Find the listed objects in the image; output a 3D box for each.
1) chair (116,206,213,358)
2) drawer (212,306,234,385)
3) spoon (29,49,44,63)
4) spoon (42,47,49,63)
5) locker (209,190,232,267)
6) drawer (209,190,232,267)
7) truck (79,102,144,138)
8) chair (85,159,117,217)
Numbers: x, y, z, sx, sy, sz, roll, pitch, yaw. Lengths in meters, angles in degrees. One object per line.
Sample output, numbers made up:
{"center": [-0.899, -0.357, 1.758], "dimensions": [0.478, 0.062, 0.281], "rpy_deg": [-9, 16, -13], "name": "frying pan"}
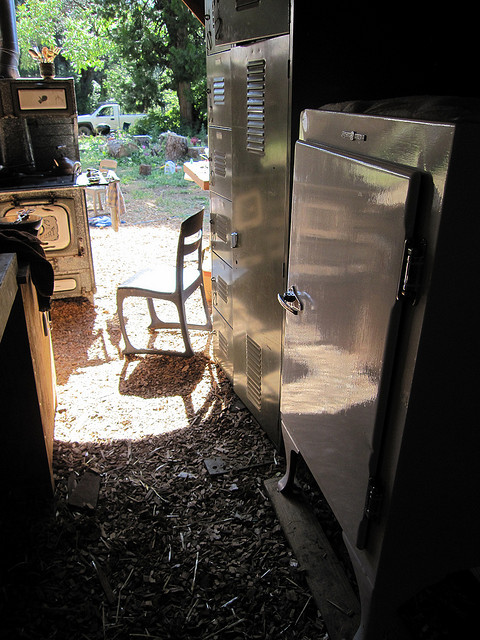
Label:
{"center": [-0.576, -0.318, 3.402], "dimensions": [0.708, 1.117, 0.731], "rpy_deg": [-5, 23, -14], "name": "chair"}
{"center": [-0.113, 0.159, 3.072], "dimensions": [0.120, 0.405, 0.309], "rpy_deg": [-2, 21, -7], "name": "drawer"}
{"center": [-1.942, -2.530, 4.291], "dimensions": [0.148, 0.042, 0.020], "rpy_deg": [47, 34, 0], "name": "spoon"}
{"center": [-1.787, -2.466, 4.138], "dimensions": [0.043, 0.160, 0.020], "rpy_deg": [0, -12, -42], "name": "spoon"}
{"center": [-0.121, -0.602, 2.849], "dimensions": [0.152, 0.497, 0.190], "rpy_deg": [-4, 21, -14], "name": "locker"}
{"center": [-0.118, -0.592, 2.842], "dimensions": [0.238, 0.329, 0.444], "rpy_deg": [-3, 26, -14], "name": "drawer"}
{"center": [-4.289, -6.659, 15.342], "dimensions": [2.102, 1.127, 1.121], "rpy_deg": [-4, 36, -16], "name": "truck"}
{"center": [-2.402, -2.244, 7.674], "dimensions": [0.575, 1.375, 0.633], "rpy_deg": [-5, 26, -25], "name": "chair"}
